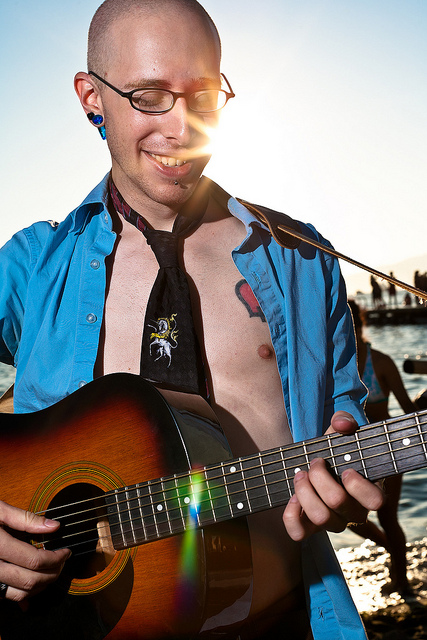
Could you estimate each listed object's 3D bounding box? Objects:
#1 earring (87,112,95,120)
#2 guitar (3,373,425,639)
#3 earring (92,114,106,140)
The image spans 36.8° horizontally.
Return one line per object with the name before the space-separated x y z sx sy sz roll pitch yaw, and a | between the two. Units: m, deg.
earring | -0.419 -0.688 2.167 0.027 0.022 0.007 5 27 14
guitar | -0.075 0.488 1.718 1.148 0.717 0.383 -9 0 5
earring | -0.391 -0.649 2.195 0.038 0.084 0.129 -12 0 -7
